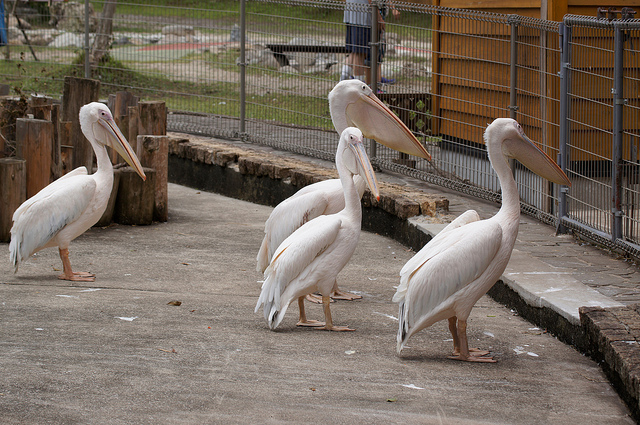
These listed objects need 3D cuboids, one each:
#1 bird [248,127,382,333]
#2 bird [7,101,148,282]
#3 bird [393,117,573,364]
[{"bbox_3d":[0.046,0.201,8.457,0.734,1.720,1.194,12,20,26],"label":"bird"},{"bbox_3d":[-2.438,-0.213,9.619,0.794,1.519,1.484,12,19,24],"label":"bird"},{"bbox_3d":[1.276,0.232,8.002,0.732,1.918,1.414,20,24,41],"label":"bird"}]
